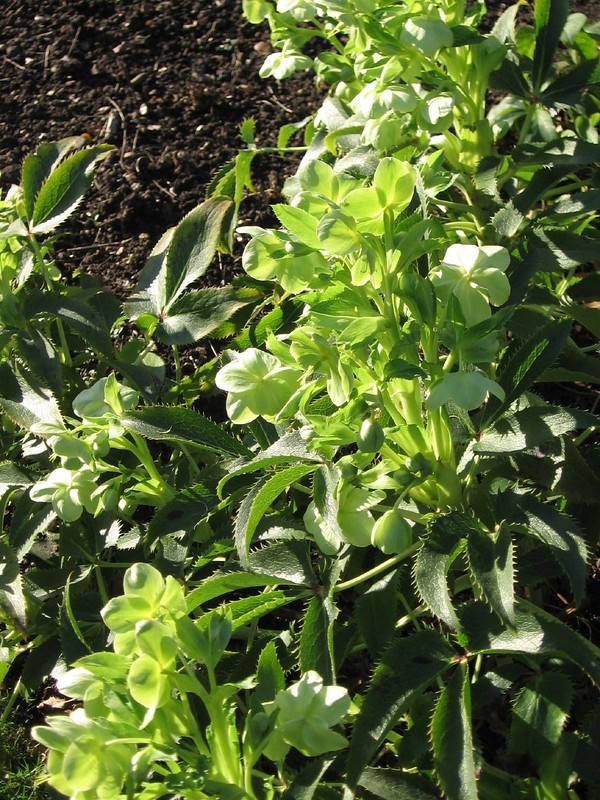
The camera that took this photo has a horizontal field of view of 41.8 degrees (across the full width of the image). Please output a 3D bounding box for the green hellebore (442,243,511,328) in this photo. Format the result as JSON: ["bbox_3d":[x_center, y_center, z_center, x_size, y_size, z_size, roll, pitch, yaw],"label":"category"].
[{"bbox_3d":[0.161,-0.103,0.691,0.061,0.063,0.067,-17,35,2],"label":"green hellebore"}]
